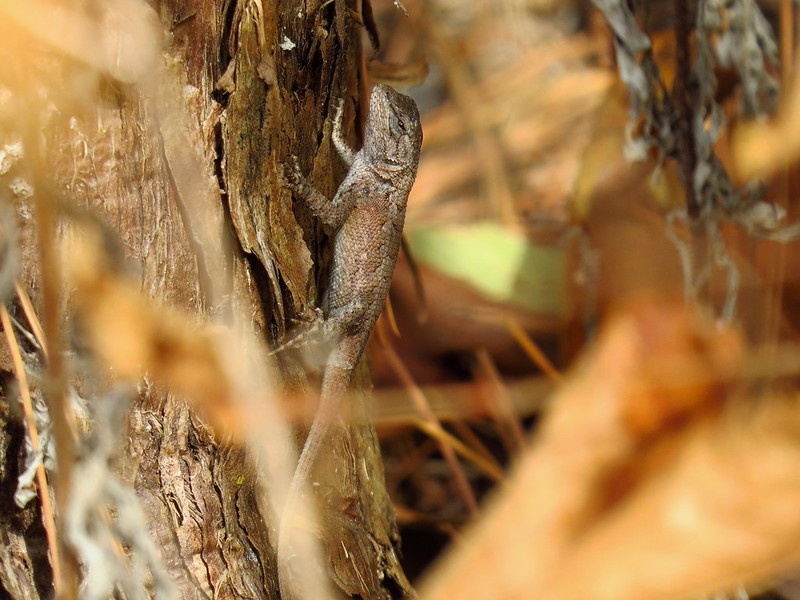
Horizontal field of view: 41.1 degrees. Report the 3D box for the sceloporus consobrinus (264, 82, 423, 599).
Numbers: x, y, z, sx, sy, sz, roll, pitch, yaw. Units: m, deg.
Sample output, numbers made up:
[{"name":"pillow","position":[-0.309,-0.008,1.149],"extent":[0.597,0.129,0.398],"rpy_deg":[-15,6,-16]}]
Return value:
[{"name":"sceloporus consobrinus","position":[-0.122,0.046,2.742],"extent":[0.211,0.324,1.365],"rpy_deg":[3,80,21]}]
